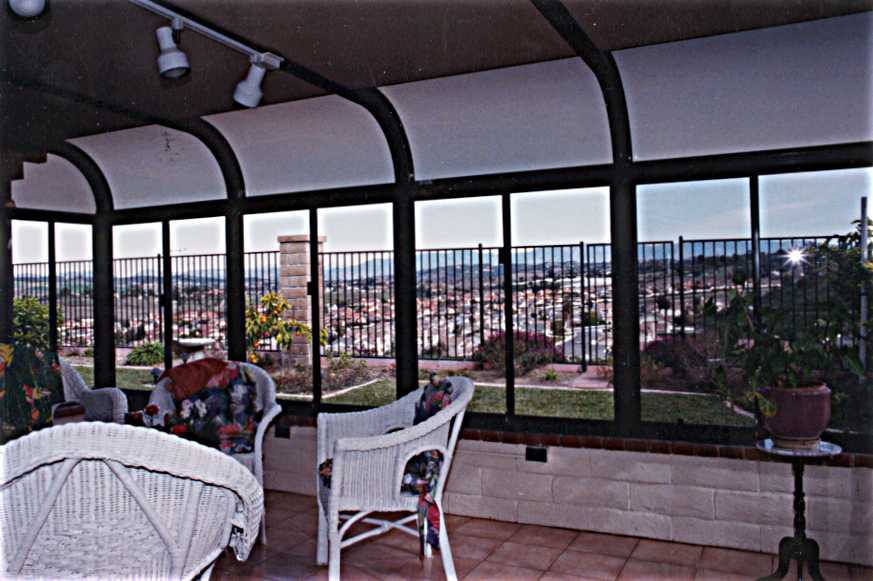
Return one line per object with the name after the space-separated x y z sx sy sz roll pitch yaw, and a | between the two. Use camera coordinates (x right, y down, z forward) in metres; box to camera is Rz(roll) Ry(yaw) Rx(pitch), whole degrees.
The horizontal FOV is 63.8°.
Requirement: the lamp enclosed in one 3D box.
-1.323 -1.275 4.203 0.757 0.327 0.461 1 -2 -42 | lamp

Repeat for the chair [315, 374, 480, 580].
-0.341 0.978 4.169 0.990 1.301 1.019 3 -9 -14 | chair

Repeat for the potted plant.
1.861 0.389 3.724 0.769 0.839 0.394 -2 -2 23 | potted plant
